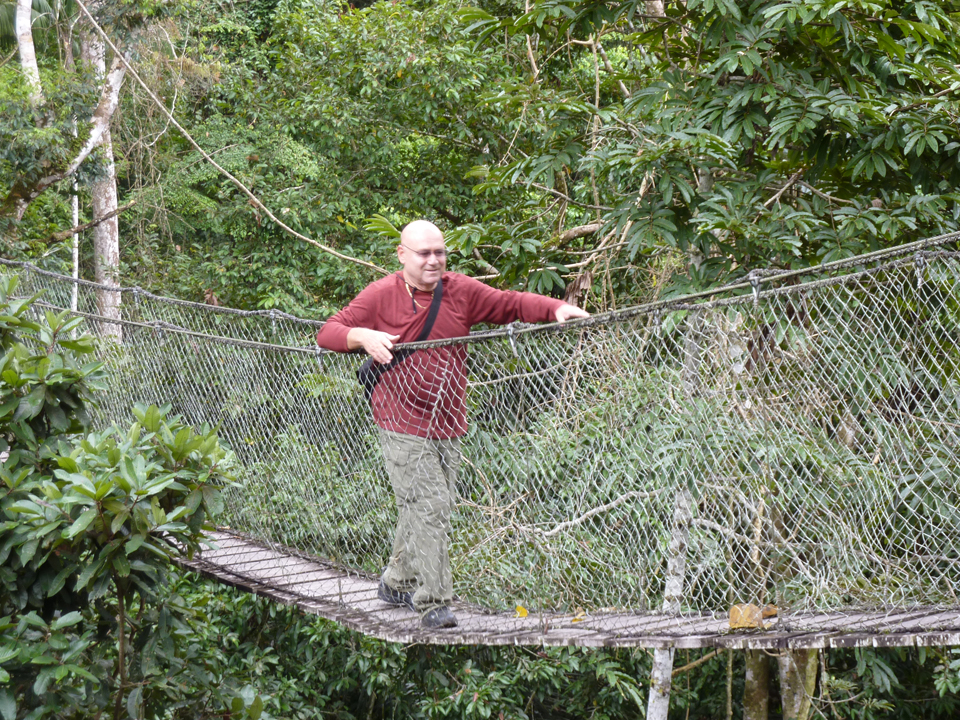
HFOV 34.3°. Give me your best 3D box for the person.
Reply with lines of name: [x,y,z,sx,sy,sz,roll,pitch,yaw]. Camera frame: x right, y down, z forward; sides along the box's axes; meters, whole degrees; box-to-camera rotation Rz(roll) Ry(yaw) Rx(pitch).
person: [-0.269,0.284,7.707,0.969,1.924,0.640,10,15,23]

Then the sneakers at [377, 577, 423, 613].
sneakers: [-0.421,1.206,7.856,0.237,0.115,0.089,4,-2,25]

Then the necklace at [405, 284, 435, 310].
necklace: [-0.306,-0.304,7.613,0.101,0.144,0.048,-2,-6,-25]

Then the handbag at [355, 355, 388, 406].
handbag: [-0.542,0.094,7.636,0.136,0.203,0.069,14,12,26]
